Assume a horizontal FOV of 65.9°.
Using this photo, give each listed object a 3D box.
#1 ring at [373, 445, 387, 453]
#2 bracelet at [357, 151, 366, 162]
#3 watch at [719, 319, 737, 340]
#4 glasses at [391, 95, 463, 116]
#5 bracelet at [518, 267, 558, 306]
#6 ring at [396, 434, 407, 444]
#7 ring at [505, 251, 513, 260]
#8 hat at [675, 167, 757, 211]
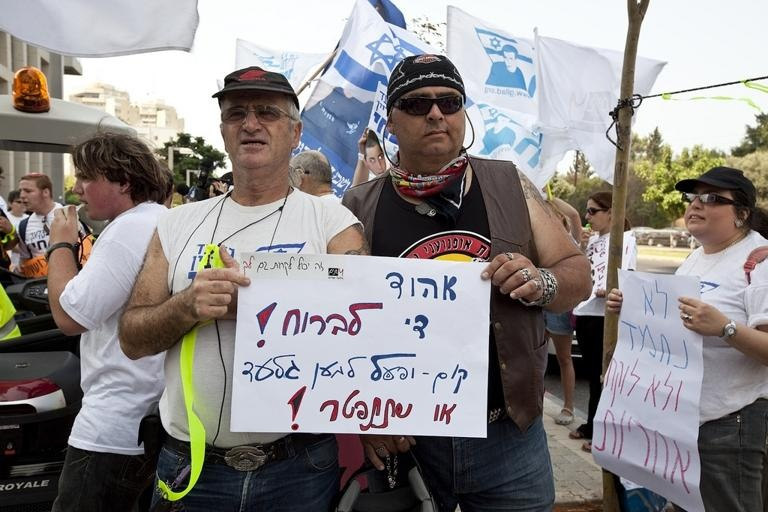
[{"bbox_3d":[-0.028,1.066,3.280,0.053,0.031,0.023,4,15,28],"label":"ring"},{"bbox_3d":[-0.251,-0.975,5.927,0.100,0.095,0.091,6,0,30],"label":"bracelet"},{"bbox_3d":[2.173,0.471,3.765,0.068,0.117,0.113,17,2,20],"label":"watch"},{"bbox_3d":[0.250,-0.834,3.339,0.386,0.131,0.076,2,3,0],"label":"glasses"},{"bbox_3d":[0.845,0.172,3.204,0.157,0.103,0.207,-2,-12,-9],"label":"bracelet"},{"bbox_3d":[0.094,1.011,3.263,0.045,0.061,0.021,-9,2,-13],"label":"ring"},{"bbox_3d":[0.657,0.010,3.111,0.051,0.030,0.041,2,3,-12],"label":"ring"},{"bbox_3d":[2.355,-0.493,4.187,0.421,0.236,0.321,29,-4,-6],"label":"hat"}]
